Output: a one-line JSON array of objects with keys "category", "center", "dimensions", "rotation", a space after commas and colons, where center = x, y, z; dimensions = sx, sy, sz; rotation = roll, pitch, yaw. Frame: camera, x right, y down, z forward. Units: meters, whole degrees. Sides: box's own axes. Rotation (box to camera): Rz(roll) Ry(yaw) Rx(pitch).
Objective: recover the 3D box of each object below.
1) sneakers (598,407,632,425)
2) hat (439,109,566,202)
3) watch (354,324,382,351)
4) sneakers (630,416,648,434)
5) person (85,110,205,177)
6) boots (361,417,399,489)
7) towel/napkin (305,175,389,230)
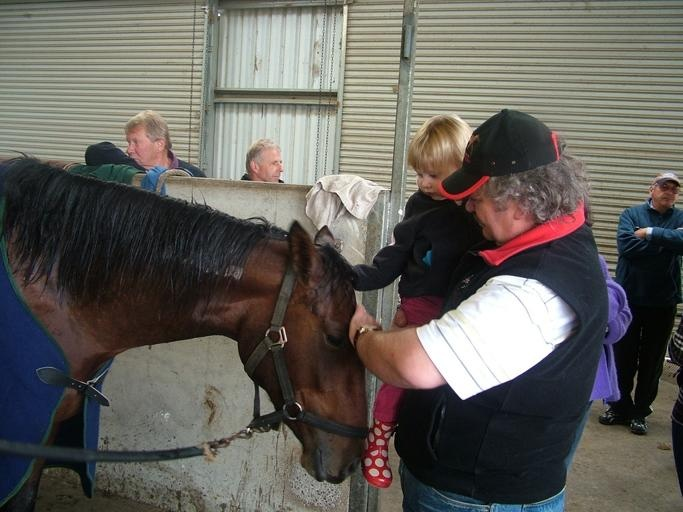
[{"category": "sneakers", "center": [2.333, 1.379, 5.397], "dimensions": [0.300, 0.137, 0.115], "rotation": [7, -4, -17]}, {"category": "hat", "center": [0.632, -0.443, 2.585], "dimensions": [0.494, 0.304, 0.346], "rotation": [-12, 18, 22]}, {"category": "watch", "center": [0.105, 0.336, 2.571], "dimensions": [0.029, 0.104, 0.099], "rotation": [14, -13, -32]}, {"category": "sneakers", "center": [2.465, 1.405, 5.194], "dimensions": [0.072, 0.102, 0.215], "rotation": [-5, -12, 21]}, {"category": "person", "center": [-1.461, -0.807, 4.907], "dimensions": [0.983, 0.512, 0.703], "rotation": [3, 3, -22]}, {"category": "boots", "center": [0.155, 0.874, 2.824], "dimensions": [0.117, 0.228, 0.317], "rotation": [14, 12, -12]}, {"category": "towel/napkin", "center": [0.005, -0.302, 3.316], "dimensions": [0.325, 0.284, 0.153], "rotation": [-11, 2, 9]}]
